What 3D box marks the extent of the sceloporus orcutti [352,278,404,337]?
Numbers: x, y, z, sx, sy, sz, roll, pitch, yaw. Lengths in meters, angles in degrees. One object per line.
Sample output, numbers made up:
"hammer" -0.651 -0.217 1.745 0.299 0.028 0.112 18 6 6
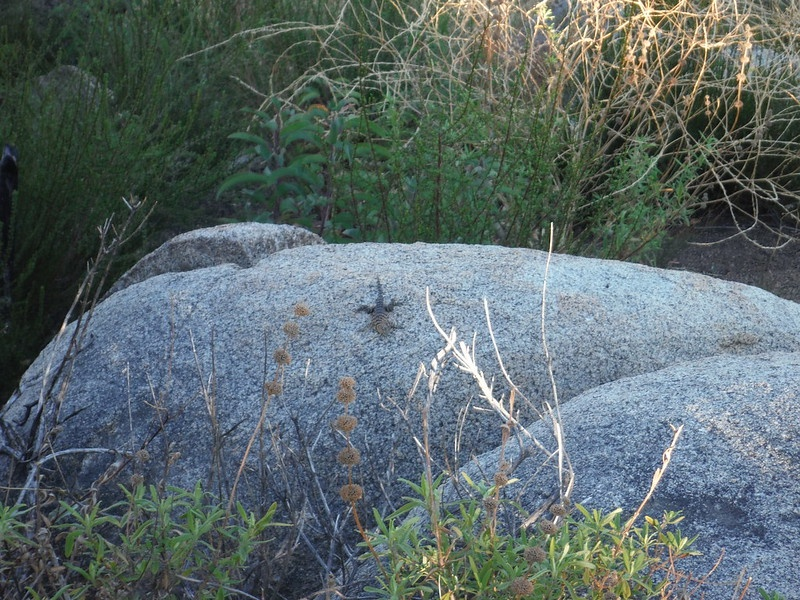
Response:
"sceloporus orcutti" -0.080 0.016 4.180 0.174 0.133 0.220 -14 39 -36
